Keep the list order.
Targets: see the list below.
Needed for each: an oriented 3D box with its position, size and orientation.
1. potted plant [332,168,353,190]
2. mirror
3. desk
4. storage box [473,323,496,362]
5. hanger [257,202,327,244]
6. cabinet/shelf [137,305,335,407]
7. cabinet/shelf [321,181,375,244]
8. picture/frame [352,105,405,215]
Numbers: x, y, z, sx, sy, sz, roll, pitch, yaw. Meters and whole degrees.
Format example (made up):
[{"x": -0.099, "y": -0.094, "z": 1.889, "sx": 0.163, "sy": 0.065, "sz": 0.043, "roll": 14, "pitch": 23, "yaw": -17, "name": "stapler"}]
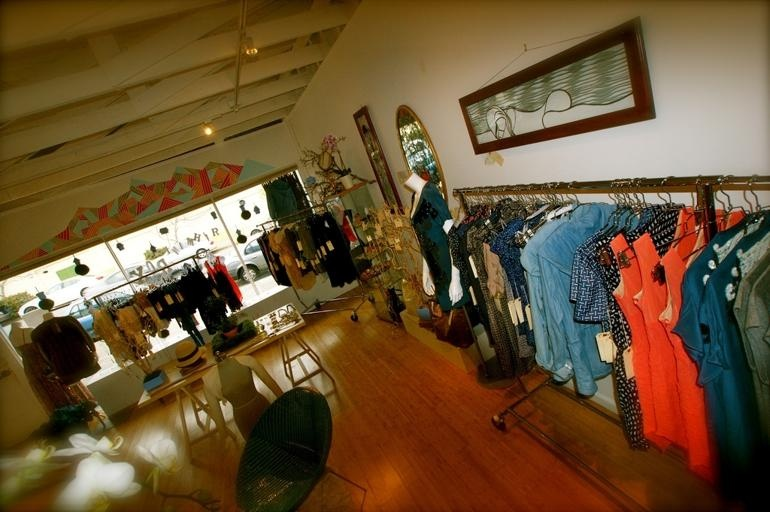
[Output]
[{"x": -0.584, "y": -1.039, "z": 6.398, "sx": 0.317, "sy": 0.319, "sz": 0.267, "roll": 2, "pitch": -27, "yaw": -17, "name": "potted plant"}, {"x": 0.360, "y": -1.122, "z": 4.988, "sx": 0.180, "sy": 0.991, "sz": 0.594, "roll": -17, "pitch": 11, "yaw": -22, "name": "mirror"}, {"x": -1.850, "y": 1.523, "z": 5.576, "sx": 1.637, "sy": 0.885, "sz": 0.526, "roll": -34, "pitch": 28, "yaw": -18, "name": "desk"}, {"x": 1.047, "y": 0.920, "z": 4.891, "sx": 0.268, "sy": 0.449, "sz": 0.094, "roll": -21, "pitch": 13, "yaw": -35, "name": "storage box"}, {"x": -1.363, "y": -0.563, "z": 6.963, "sx": 0.875, "sy": 0.254, "sz": 1.861, "roll": -15, "pitch": 10, "yaw": -10, "name": "hanger"}, {"x": -1.957, "y": 1.330, "z": 5.980, "sx": 1.545, "sy": 0.744, "sz": 0.610, "roll": -28, "pitch": 16, "yaw": -13, "name": "cabinet/shelf"}, {"x": -0.498, "y": -0.580, "z": 6.336, "sx": 0.336, "sy": 0.971, "sz": 0.602, "roll": 6, "pitch": 22, "yaw": 41, "name": "cabinet/shelf"}, {"x": -0.063, "y": -1.181, "z": 5.712, "sx": 0.319, "sy": 1.309, "sz": 0.661, "roll": -15, "pitch": 10, "yaw": -10, "name": "picture/frame"}]
